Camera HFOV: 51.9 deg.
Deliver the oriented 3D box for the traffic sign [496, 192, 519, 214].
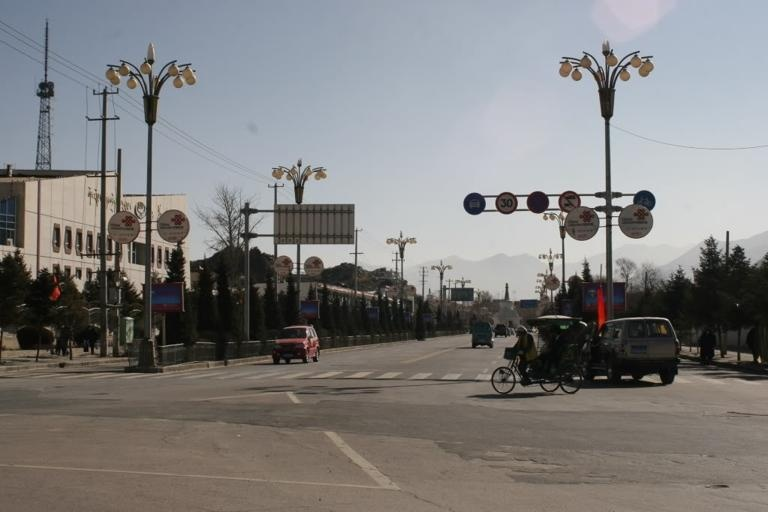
[{"bbox_3d":[6.017,-2.595,38.596,0.893,1.175,1.726,0,-6,5],"label":"traffic sign"}]
